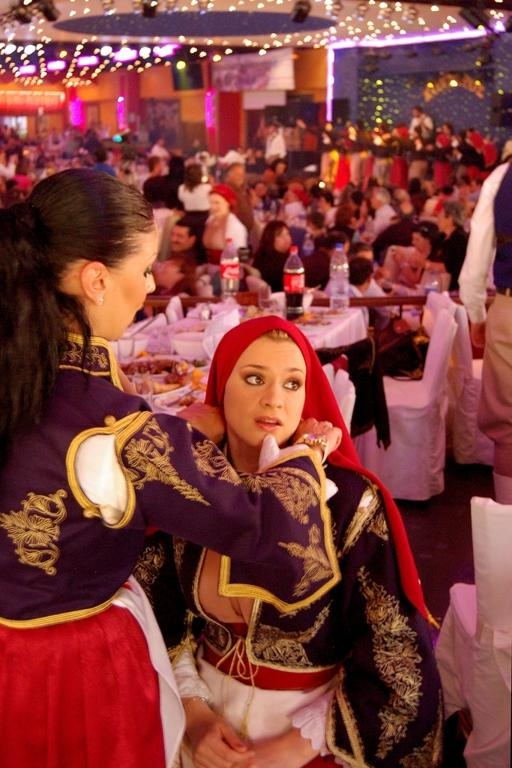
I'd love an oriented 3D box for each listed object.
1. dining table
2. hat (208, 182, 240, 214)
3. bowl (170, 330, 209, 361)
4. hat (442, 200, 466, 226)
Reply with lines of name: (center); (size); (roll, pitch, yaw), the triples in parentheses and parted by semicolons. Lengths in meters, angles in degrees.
dining table: (-0.322, -0.115, 2.797); (0.881, 0.200, 0.829); (-2, 20, 2)
hat: (-0.270, -1.775, 5.746); (0.251, 0.125, 0.349); (28, -7, 1)
bowl: (-0.324, -0.190, 2.959); (0.166, 0.105, 0.160); (-2, 10, 0)
hat: (1.842, -1.586, 5.628); (0.195, 0.240, 0.240); (-15, 14, -35)
